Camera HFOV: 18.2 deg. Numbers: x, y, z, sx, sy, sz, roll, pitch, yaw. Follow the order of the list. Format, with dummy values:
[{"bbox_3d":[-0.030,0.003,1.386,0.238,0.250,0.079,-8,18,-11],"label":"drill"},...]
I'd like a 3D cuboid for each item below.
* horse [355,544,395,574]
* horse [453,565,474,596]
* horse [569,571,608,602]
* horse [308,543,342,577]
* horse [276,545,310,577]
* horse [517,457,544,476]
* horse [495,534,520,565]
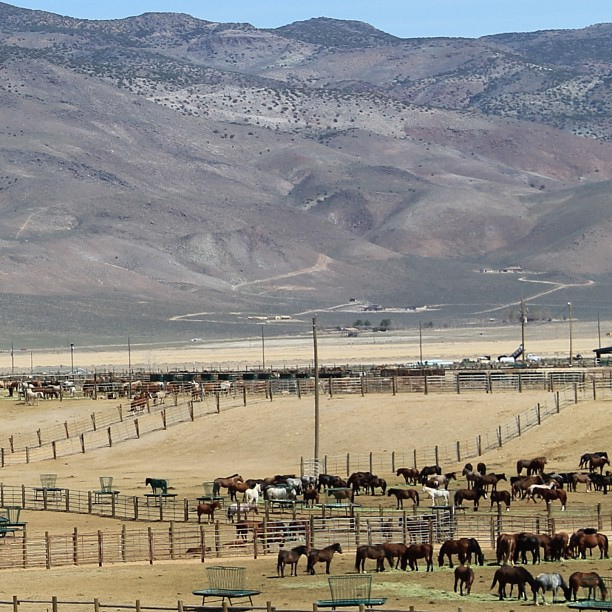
[{"bbox_3d":[2.746,10.447,78.522,1.060,1.123,2.004,7,5,42],"label":"horse"},{"bbox_3d":[6.208,10.977,75.950,0.752,1.163,0.846,4,4,1],"label":"horse"},{"bbox_3d":[11.040,11.110,75.074,1.498,1.077,1.434,4,4,15],"label":"horse"},{"bbox_3d":[0.688,10.504,78.599,1.121,1.294,1.102,5,4,17],"label":"horse"},{"bbox_3d":[-0.578,10.540,78.842,1.269,1.251,1.488,4,3,1],"label":"horse"},{"bbox_3d":[10.829,7.915,93.502,1.252,0.921,1.514,2,4,-27],"label":"horse"},{"bbox_3d":[8.161,10.062,78.335,0.839,1.287,0.887,5,4,15],"label":"horse"}]
